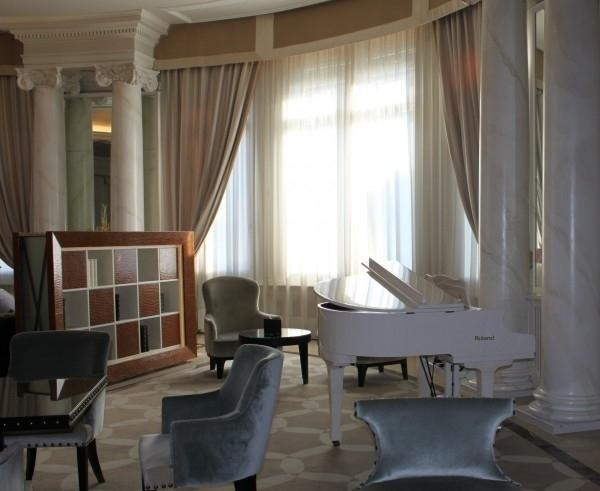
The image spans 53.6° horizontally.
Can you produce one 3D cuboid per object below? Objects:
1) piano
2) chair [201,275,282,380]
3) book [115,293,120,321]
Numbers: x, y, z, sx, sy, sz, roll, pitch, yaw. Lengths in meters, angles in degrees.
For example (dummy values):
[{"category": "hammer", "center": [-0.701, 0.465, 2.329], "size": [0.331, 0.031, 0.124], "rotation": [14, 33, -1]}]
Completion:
[{"category": "piano", "center": [0.773, 0.556, 4.419], "size": [1.166, 1.096, 1.478], "rotation": [-3, 3, -8]}, {"category": "chair", "center": [-0.690, 0.869, 6.373], "size": [0.755, 1.081, 0.825], "rotation": [1, -6, -41]}, {"category": "book", "center": [-1.877, 0.624, 6.094], "size": [0.039, 0.180, 0.145], "rotation": [-3, 2, -15]}]
